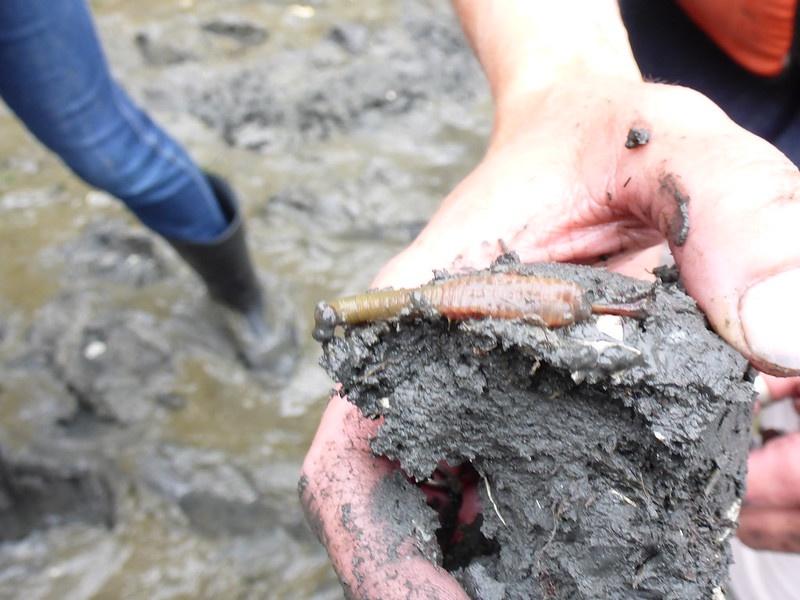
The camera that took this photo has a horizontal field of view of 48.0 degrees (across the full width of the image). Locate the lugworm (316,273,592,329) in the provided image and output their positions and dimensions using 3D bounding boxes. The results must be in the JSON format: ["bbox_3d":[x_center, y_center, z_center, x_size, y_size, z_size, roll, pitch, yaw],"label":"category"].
[{"bbox_3d":[0.122,0.005,2.087,0.640,0.079,0.122,1,71,4],"label":"lugworm"}]
